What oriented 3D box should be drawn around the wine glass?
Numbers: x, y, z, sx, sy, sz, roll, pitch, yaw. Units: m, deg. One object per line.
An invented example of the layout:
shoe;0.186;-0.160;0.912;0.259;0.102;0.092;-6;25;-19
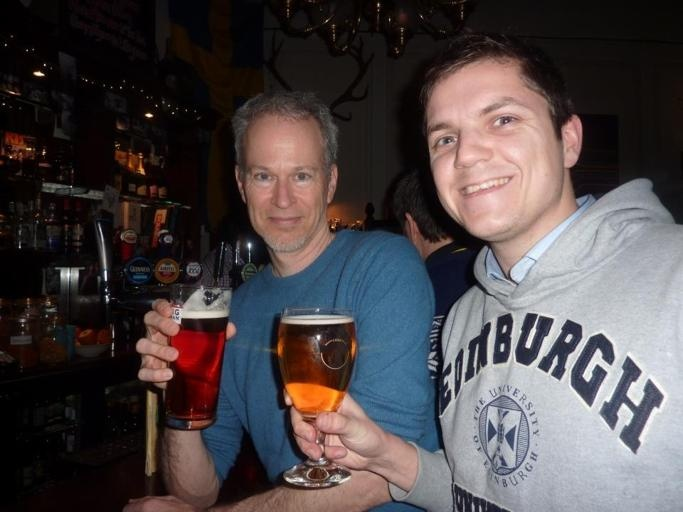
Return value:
wine glass;-0.084;0.490;1.923;0.216;0.628;0.213;0;2;-45
